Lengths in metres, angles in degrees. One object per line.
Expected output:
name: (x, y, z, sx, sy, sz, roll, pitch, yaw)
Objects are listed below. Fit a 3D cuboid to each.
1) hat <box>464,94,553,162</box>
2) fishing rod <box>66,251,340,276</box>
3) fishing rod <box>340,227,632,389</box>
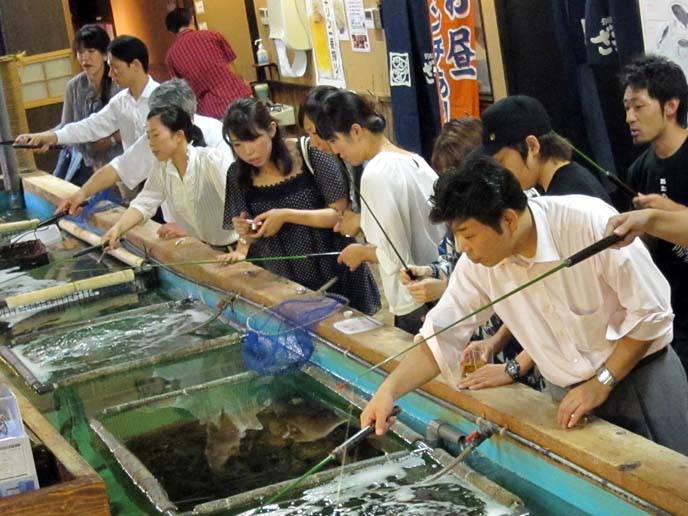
hat: (0.561, -0.438, 1.793, 0.244, 0.130, 0.173, -22, 22, 20)
fishing rod: (-0.743, 0.033, 2.916, 0.877, 0.098, 0.029, -5, 33, 7)
fishing rod: (0.450, 0.166, 1.638, 1.258, 0.048, 0.053, -27, 36, -15)
